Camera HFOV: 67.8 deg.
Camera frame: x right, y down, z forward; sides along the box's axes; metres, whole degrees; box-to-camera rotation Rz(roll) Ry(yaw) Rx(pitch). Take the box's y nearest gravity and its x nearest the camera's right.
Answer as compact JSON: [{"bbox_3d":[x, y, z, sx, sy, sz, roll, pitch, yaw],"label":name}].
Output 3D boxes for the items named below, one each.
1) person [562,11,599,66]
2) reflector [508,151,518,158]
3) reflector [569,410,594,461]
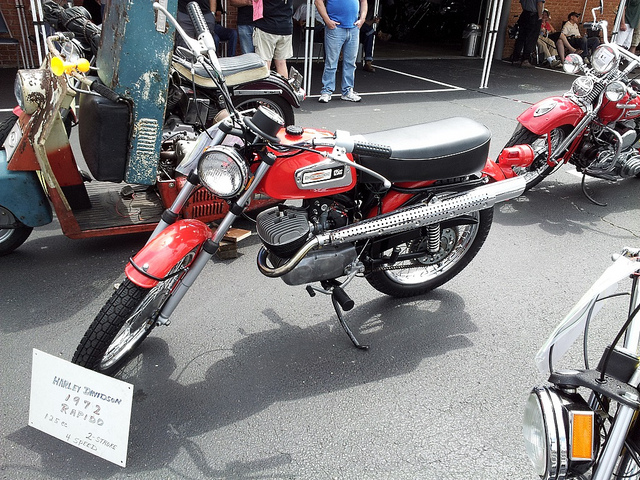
[{"bbox_3d":[7.693,-6.155,14.364,0.839,1.521,0.934,-6,35,40],"label":"person"},{"bbox_3d":[1.623,-0.718,4.011,0.059,0.056,0.019,-1,8,-24],"label":"reflector"},{"bbox_3d":[0.967,0.725,1.754,0.018,0.099,0.173,26,61,-16],"label":"reflector"}]
